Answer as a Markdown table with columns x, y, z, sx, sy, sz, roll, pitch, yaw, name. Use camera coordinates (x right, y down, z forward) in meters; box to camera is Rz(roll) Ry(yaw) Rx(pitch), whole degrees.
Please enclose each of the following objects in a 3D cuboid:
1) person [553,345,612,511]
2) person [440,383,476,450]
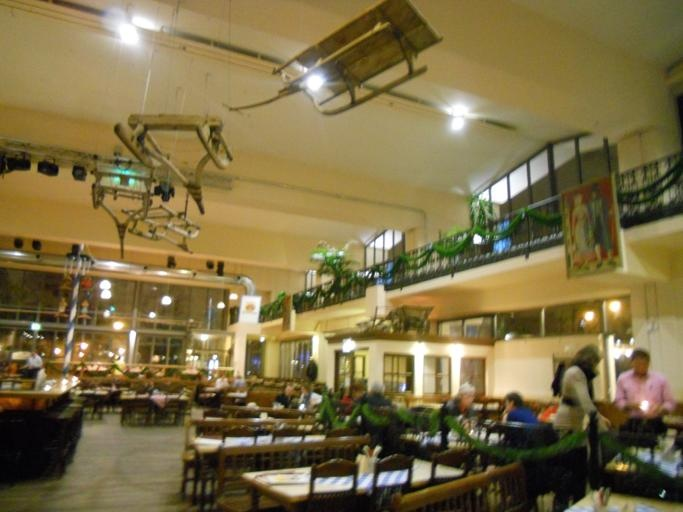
| x | y | z | sx | sy | sz | roll | pitch | yaw | name |
| --- | --- | --- | --- | --- | --- | --- | --- | --- | --- |
| 2.357 | 1.709 | 5.132 | 0.544 | 1.697 | 0.488 | -4 | -58 | 25 | person |
| 1.550 | 2.111 | 6.973 | 0.382 | 0.761 | 1.214 | -2 | -13 | 15 | person |
